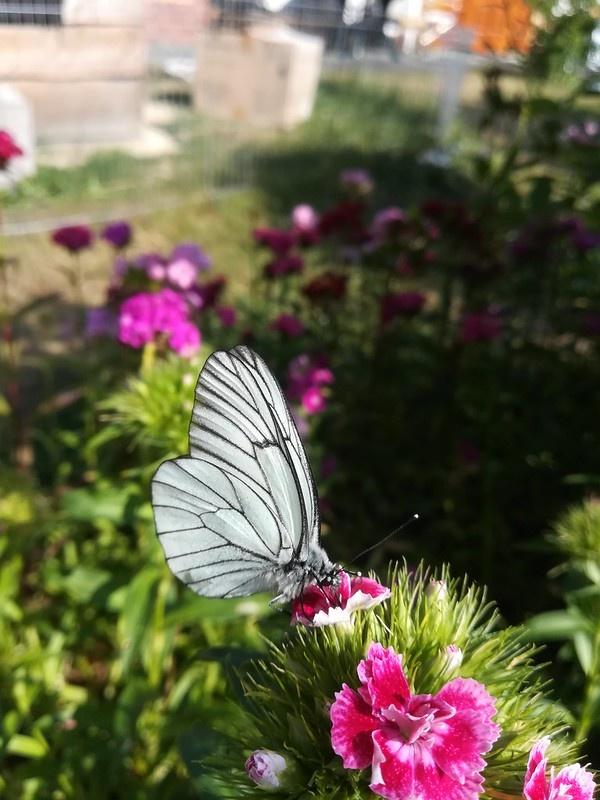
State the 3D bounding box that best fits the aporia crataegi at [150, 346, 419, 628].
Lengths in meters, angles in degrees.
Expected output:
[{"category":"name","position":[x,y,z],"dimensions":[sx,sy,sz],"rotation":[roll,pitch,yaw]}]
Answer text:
[{"category":"aporia crataegi","position":[0.034,0.071,0.871],"dimensions":[0.320,0.307,0.299],"rotation":[4,7,10]}]
